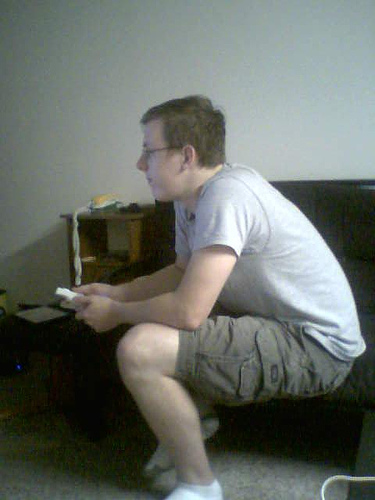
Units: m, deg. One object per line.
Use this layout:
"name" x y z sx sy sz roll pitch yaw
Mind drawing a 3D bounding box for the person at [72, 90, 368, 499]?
"person" 0.053 0.102 1.423 0.661 1.035 0.546 10 10 40

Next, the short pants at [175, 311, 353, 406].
"short pants" 0.165 0.273 1.407 0.590 0.190 0.310 2 13 -7
